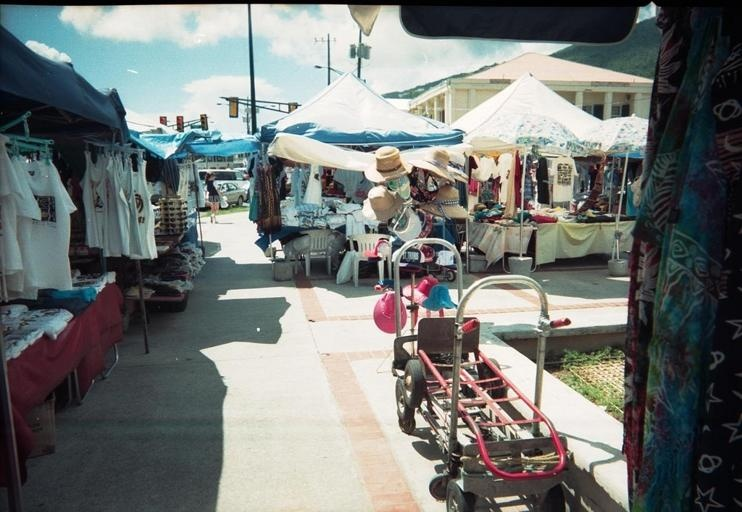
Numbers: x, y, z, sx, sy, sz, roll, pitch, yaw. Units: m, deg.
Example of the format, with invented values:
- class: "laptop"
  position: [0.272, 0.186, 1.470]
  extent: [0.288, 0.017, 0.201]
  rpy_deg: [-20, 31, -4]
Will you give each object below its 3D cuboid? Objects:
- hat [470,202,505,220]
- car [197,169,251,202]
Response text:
- class: "hat"
  position: [2.677, -0.981, 13.109]
  extent: [0.575, 0.226, 0.739]
  rpy_deg: [4, 9, 22]
- class: "car"
  position: [-7.294, -3.571, 29.727]
  extent: [1.621, 1.291, 2.641]
  rpy_deg: [7, 14, 33]
